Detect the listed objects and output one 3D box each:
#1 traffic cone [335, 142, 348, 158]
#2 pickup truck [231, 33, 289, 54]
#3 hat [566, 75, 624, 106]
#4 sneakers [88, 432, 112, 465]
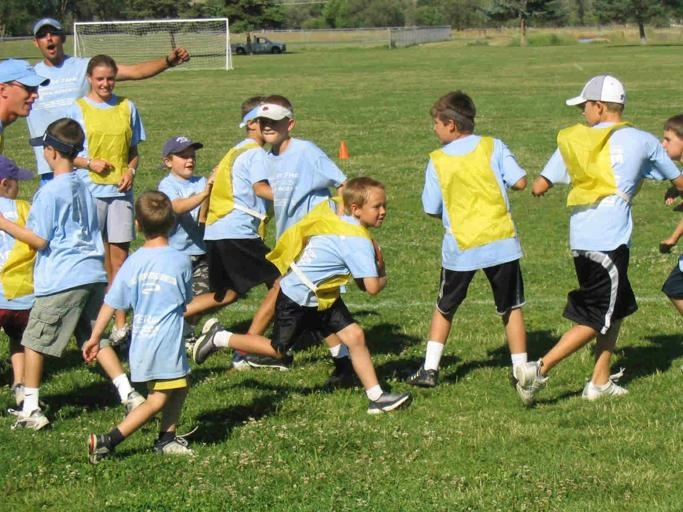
[{"bbox_3d":[0.031,-2.388,21.398,0.357,0.397,0.367,-2,2,-3],"label":"traffic cone"},{"bbox_3d":[-6.247,-15.633,70.031,3.868,1.236,4.402,-2,12,-10],"label":"pickup truck"},{"bbox_3d":[2.572,-1.676,9.581,0.495,0.270,0.326,10,15,26],"label":"hat"},{"bbox_3d":[-2.224,1.756,8.638,0.205,0.289,0.175,-4,12,-17],"label":"sneakers"}]
